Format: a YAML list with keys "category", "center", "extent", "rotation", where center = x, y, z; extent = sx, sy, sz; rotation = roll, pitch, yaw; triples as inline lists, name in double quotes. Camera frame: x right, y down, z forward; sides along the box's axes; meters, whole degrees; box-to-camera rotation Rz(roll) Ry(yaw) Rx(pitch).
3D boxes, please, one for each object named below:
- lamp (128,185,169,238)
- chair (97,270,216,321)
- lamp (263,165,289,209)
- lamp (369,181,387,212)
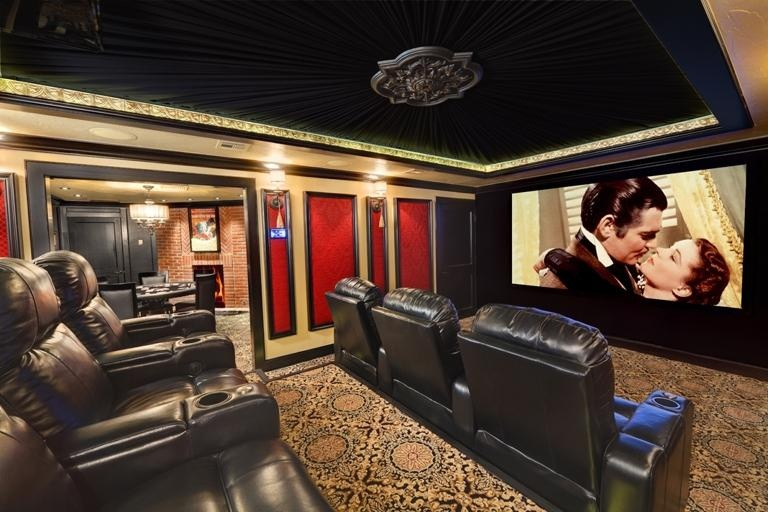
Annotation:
- category: "lamp"
  center: [-3.751, -0.720, 7.226]
  extent: [0.593, 0.755, 0.569]
  rotation: [-1, 2, -3]
- category: "chair"
  center: [-3.017, 0.563, 6.360]
  extent: [1.084, 0.498, 1.043]
  rotation: [0, 3, 5]
- category: "lamp"
  center: [-1.318, -0.840, 5.606]
  extent: [0.255, 0.490, 0.247]
  rotation: [-2, -1, 26]
- category: "lamp"
  center: [-0.088, -0.861, 6.502]
  extent: [0.229, 0.397, 0.197]
  rotation: [-4, 6, 1]
